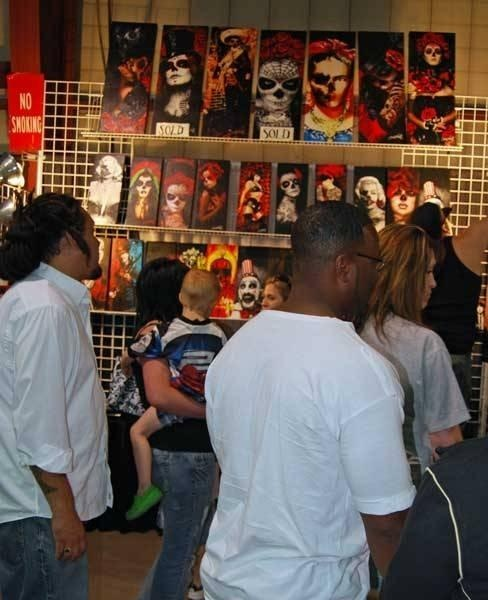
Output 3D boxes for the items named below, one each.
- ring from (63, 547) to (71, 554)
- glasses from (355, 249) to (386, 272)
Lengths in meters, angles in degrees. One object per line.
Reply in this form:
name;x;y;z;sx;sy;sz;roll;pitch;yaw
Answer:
ring;-0.434;0.614;1.475;0.016;0.012;0.016;1;-8;0
glasses;0.245;-0.079;1.177;0.046;0.014;0.046;21;0;17
